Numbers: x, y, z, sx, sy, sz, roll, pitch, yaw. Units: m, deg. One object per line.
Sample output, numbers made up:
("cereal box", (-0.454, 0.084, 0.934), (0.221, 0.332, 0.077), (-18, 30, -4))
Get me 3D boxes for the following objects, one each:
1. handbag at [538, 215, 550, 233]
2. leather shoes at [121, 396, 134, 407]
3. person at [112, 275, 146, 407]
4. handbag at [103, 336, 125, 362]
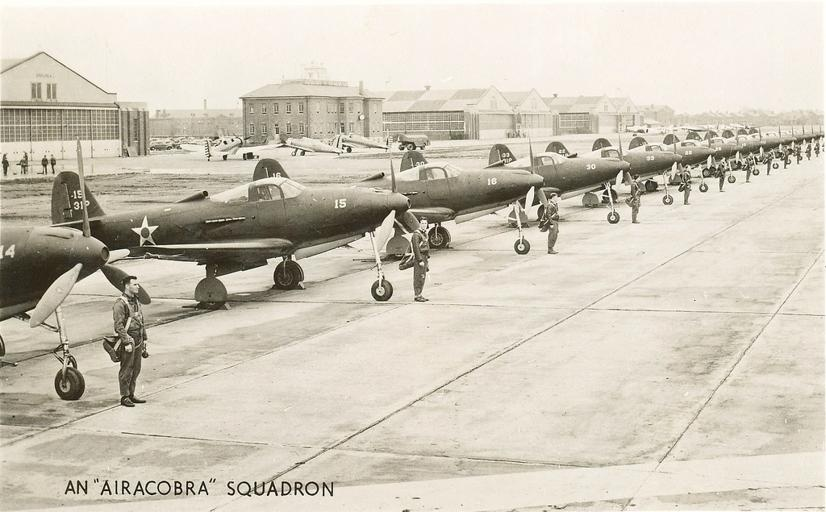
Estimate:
("handbag", (4.150, -1.031, 28.822), (0.649, 0.519, 0.430), (4, 8, 11))
("leather shoes", (-5.366, 2.733, 16.858), (0.125, 0.125, 0.343), (-3, -2, -38))
("person", (-5.391, 1.593, 17.048), (0.593, 2.287, 1.042), (-5, 13, -9))
("handbag", (-5.615, 1.737, 16.851), (0.315, 0.483, 0.224), (-7, 14, -18))
